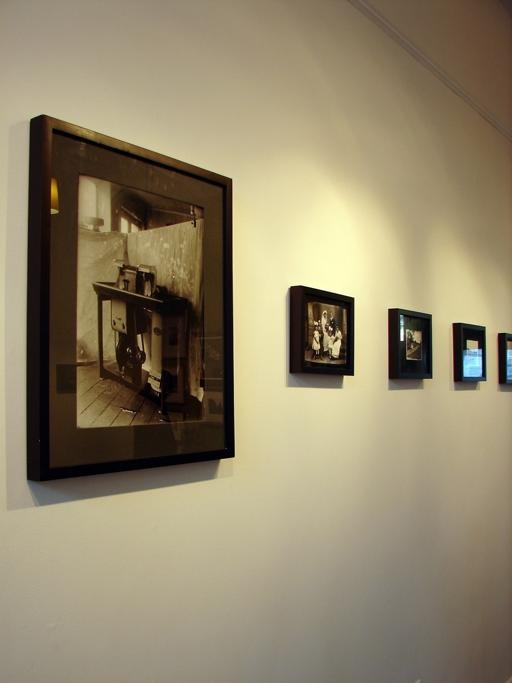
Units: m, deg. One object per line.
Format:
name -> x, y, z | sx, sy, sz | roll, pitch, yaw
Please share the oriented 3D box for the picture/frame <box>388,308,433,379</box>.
picture/frame -> 0.693, 0.015, 2.409 | 0.222, 0.296, 0.021 | 4, -6, -34
